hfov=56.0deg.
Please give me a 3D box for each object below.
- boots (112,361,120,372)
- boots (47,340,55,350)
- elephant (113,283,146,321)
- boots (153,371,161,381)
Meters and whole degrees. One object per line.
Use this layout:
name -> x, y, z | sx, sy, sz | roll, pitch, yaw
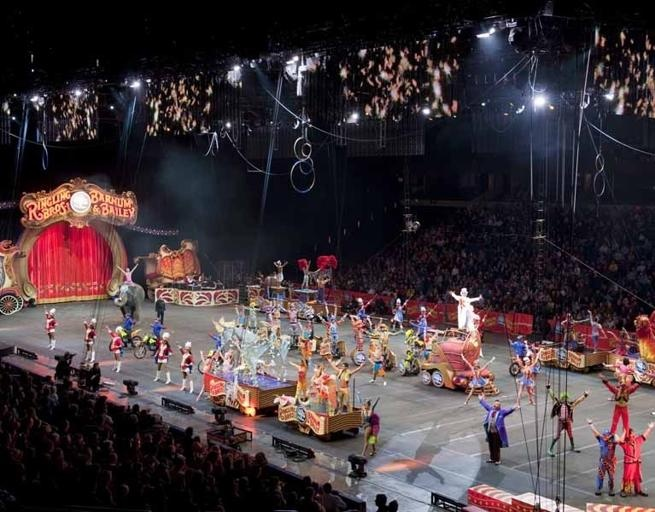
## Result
boots -> -8.558, 4.537, 25.158 | 0.360, 0.458, 0.378 | 2, -3, 18
boots -> -12.864, 4.164, 28.734 | 0.431, 0.537, 0.440 | 2, -6, -4
elephant -> -11.367, 2.376, 34.108 | 1.198, 2.342, 3.443 | -1, -2, 4
boots -> -6.592, 4.723, 24.098 | 0.217, 0.448, 0.393 | 6, 1, 44
